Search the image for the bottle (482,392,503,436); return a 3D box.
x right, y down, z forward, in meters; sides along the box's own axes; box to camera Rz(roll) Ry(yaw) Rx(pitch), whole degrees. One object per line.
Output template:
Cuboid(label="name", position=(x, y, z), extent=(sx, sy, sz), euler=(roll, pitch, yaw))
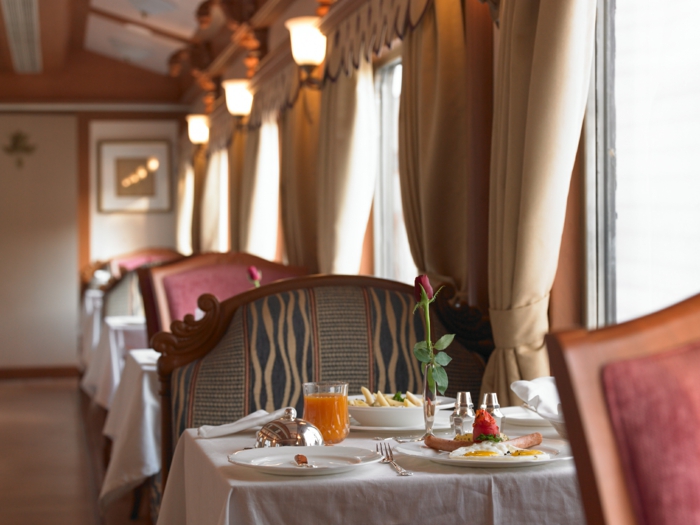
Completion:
Cuboid(label="bottle", position=(0.319, 0.355, 1.477), extent=(0.053, 0.110, 0.058), euler=(-5, -12, 25))

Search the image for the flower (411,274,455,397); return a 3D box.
Cuboid(label="flower", position=(0.194, 0.170, 1.506), extent=(0.105, 0.289, 0.101), euler=(-14, 14, -41))

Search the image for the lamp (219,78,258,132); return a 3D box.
Cuboid(label="lamp", position=(-0.980, -1.393, 5.741), extent=(0.272, 0.409, 0.300), euler=(-3, 2, -1))

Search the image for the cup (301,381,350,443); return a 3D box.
Cuboid(label="cup", position=(-0.056, 0.366, 1.598), extent=(0.115, 0.155, 0.120), euler=(-3, 0, 0))

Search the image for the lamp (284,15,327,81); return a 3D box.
Cuboid(label="lamp", position=(-0.242, -1.318, 4.160), extent=(0.302, 0.474, 0.348), euler=(-1, -1, -1))

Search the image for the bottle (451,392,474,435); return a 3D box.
Cuboid(label="bottle", position=(0.261, 0.350, 1.501), extent=(0.050, 0.102, 0.051), euler=(1, 4, 0))
